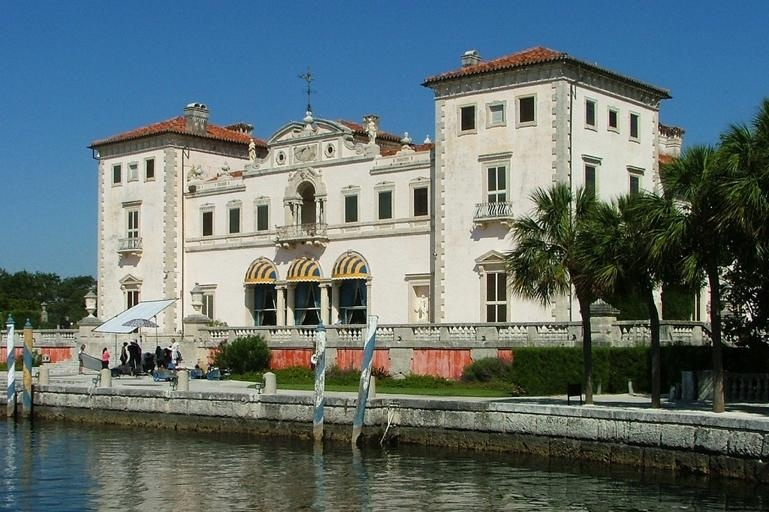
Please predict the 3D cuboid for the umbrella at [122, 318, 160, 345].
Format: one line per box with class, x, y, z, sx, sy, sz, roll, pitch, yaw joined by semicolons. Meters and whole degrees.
umbrella;-12.709;3.626;69.574;1.810;1.443;1.985;0;-6;-2
